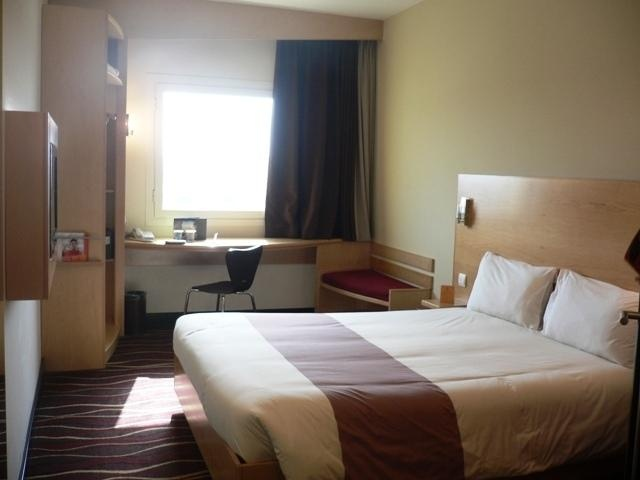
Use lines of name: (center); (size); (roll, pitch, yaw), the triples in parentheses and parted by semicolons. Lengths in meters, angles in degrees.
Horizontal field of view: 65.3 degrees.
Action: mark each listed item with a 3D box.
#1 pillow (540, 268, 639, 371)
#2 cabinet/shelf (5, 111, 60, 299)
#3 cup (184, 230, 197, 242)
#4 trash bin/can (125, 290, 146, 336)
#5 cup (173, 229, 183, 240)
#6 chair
pillow: (1.570, 0.466, 2.881); (0.169, 0.388, 0.512); (-1, 9, -20)
cabinet/shelf: (-1.252, -0.145, 2.135); (0.213, 0.793, 0.165); (-6, 12, -34)
cup: (-1.280, -0.048, 4.959); (0.125, 0.147, 0.100); (2, -5, 1)
trash bin/can: (-1.770, 0.712, 5.001); (0.282, 0.494, 0.305); (-2, 5, -18)
cup: (-1.403, -0.059, 4.961); (0.104, 0.123, 0.083); (1, 2, -6)
chair: (-0.908, 0.416, 4.786); (0.568, 0.913, 0.508); (16, 15, 35)
